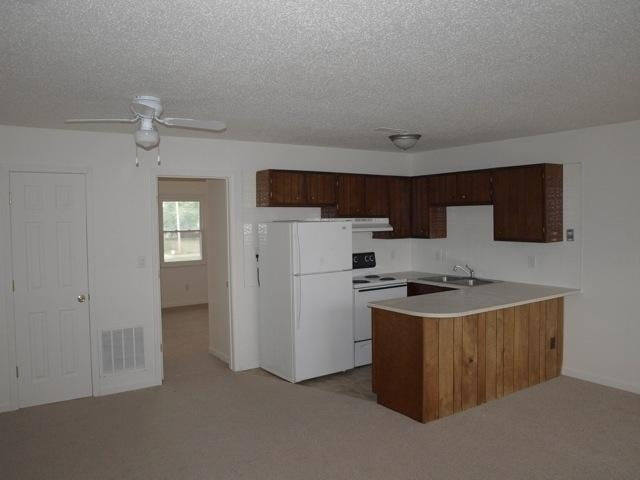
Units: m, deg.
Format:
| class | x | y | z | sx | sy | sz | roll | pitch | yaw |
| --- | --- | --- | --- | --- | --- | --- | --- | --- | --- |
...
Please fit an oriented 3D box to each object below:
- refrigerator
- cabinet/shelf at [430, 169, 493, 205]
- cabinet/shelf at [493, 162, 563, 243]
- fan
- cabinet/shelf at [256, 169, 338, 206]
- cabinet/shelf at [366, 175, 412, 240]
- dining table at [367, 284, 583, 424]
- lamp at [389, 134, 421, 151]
| class | x | y | z | sx | sy | sz | roll | pitch | yaw |
| --- | --- | --- | --- | --- | --- | --- | --- | --- | --- |
| refrigerator | -0.185 | 0.730 | 6.111 | 1.226 | 1.957 | 0.761 | -2 | 9 | -6 |
| cabinet/shelf | 1.935 | -0.712 | 6.818 | 0.854 | 0.421 | 0.299 | -4 | -7 | 30 |
| cabinet/shelf | 2.597 | -0.467 | 6.144 | 0.353 | 0.983 | 0.719 | -5 | 5 | -33 |
| fan | -1.376 | -0.843 | 3.827 | 1.174 | 0.468 | 0.420 | 0 | 7 | 3 |
| cabinet/shelf | -0.121 | -0.688 | 6.529 | 1.020 | 0.468 | 0.326 | 5 | 8 | 30 |
| cabinet/shelf | 1.166 | -0.495 | 7.288 | 0.562 | 0.904 | 0.175 | -6 | 10 | -30 |
| dining table | 1.891 | 1.156 | 5.775 | 2.405 | 1.179 | 1.039 | -6 | 7 | -28 |
| lamp | 1.055 | -1.237 | 6.043 | 0.397 | 0.168 | 0.315 | 1 | 9 | 12 |
